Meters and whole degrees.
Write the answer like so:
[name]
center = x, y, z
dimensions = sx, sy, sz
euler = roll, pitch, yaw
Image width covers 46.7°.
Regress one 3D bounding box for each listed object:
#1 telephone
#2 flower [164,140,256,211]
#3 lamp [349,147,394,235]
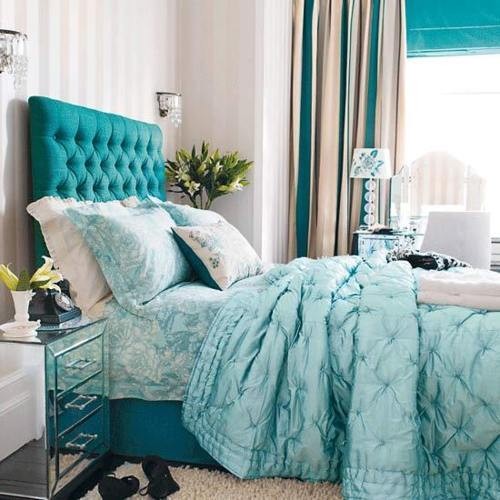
[telephone]
center = -0.735, 0.202, 2.187
dimensions = 0.110, 0.156, 0.227
euler = -5, -2, 2
[flower]
center = -0.349, -0.505, 4.433
dimensions = 0.526, 0.513, 0.604
euler = 3, 11, -24
[lamp]
center = 0.953, -0.457, 4.607
dimensions = 0.277, 0.745, 0.252
euler = 5, 22, 25
